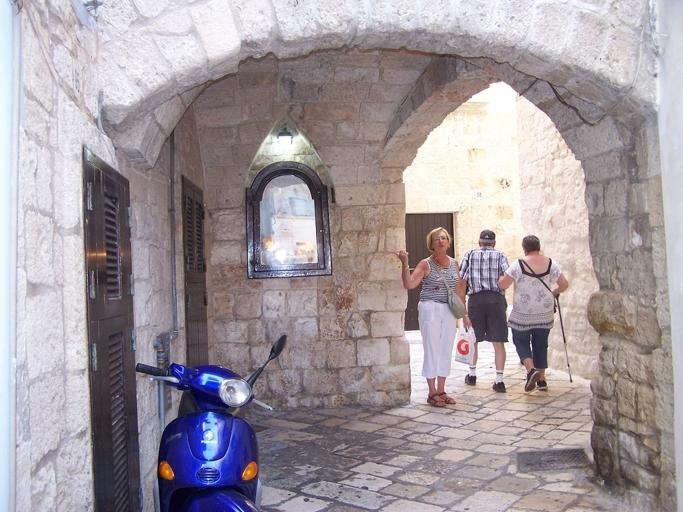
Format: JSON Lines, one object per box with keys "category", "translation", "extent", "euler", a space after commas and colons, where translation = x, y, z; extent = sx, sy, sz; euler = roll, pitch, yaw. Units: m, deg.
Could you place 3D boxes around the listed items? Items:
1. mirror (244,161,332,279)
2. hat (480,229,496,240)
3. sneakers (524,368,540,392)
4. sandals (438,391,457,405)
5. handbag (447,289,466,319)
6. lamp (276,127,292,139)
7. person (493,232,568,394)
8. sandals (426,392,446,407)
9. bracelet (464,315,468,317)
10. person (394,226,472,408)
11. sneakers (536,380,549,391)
{"category": "mirror", "translation": [-0.579, -0.343, 5.783], "extent": [1.052, 1.604, 0.188], "euler": [0, 1, 1]}
{"category": "hat", "translation": [1.603, -0.231, 6.170], "extent": [0.133, 0.110, 0.197], "euler": [4, 5, 13]}
{"category": "sneakers", "translation": [1.873, 1.230, 5.516], "extent": [0.123, 0.249, 0.330], "euler": [-2, 0, 11]}
{"category": "sandals", "translation": [1.051, 1.420, 5.611], "extent": [0.081, 0.060, 0.196], "euler": [1, 2, -16]}
{"category": "handbag", "translation": [1.109, 0.468, 5.423], "extent": [0.088, 0.270, 0.173], "euler": [-18, 2, 28]}
{"category": "lamp", "translation": [-0.569, -1.240, 5.702], "extent": [0.149, 0.112, 0.064], "euler": [-2, 0, -1]}
{"category": "person", "translation": [1.973, 0.613, 5.710], "extent": [0.682, 1.639, 0.594], "euler": [-2, 0, -31]}
{"category": "sandals", "translation": [0.957, 1.450, 5.582], "extent": [0.076, 0.080, 0.187], "euler": [0, -8, -16]}
{"category": "bracelet", "translation": [1.231, 0.592, 5.552], "extent": [0.050, 0.013, 0.053], "euler": [2, 8, 18]}
{"category": "person", "translation": [0.918, 0.619, 5.545], "extent": [0.595, 1.767, 0.327], "euler": [-2, 0, 7]}
{"category": "sneakers", "translation": [2.147, 1.377, 5.988], "extent": [0.059, 0.079, 0.174], "euler": [1, 8, 9]}
